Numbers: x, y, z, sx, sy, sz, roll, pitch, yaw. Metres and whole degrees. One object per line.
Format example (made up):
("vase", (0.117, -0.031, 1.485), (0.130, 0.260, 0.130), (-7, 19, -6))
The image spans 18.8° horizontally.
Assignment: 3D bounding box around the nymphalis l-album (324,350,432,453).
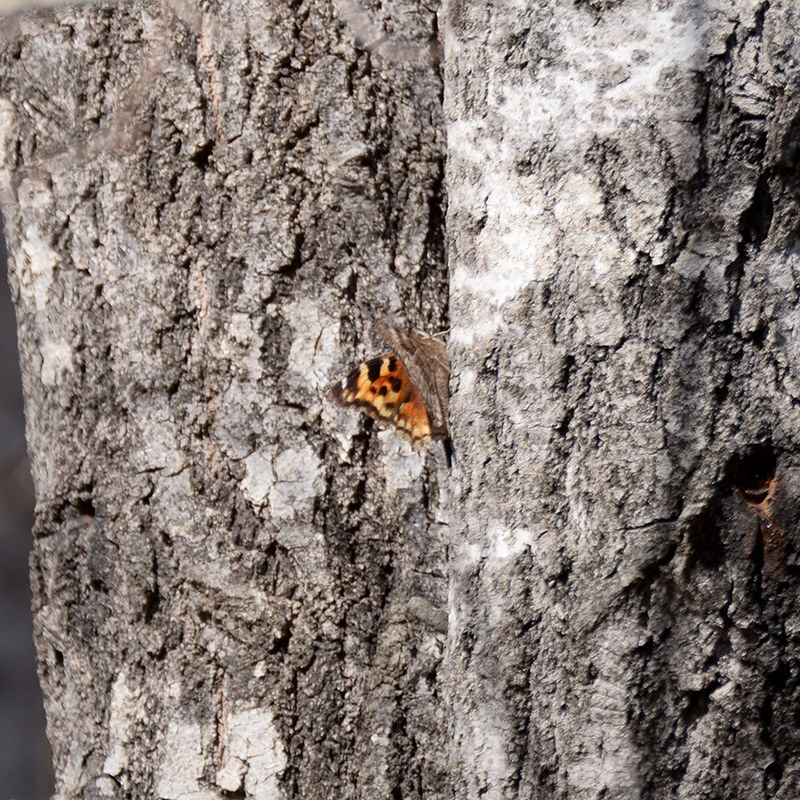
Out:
("nymphalis l-album", (-0.024, -0.014, 5.528), (0.160, 0.204, 0.270), (-15, -22, 40))
